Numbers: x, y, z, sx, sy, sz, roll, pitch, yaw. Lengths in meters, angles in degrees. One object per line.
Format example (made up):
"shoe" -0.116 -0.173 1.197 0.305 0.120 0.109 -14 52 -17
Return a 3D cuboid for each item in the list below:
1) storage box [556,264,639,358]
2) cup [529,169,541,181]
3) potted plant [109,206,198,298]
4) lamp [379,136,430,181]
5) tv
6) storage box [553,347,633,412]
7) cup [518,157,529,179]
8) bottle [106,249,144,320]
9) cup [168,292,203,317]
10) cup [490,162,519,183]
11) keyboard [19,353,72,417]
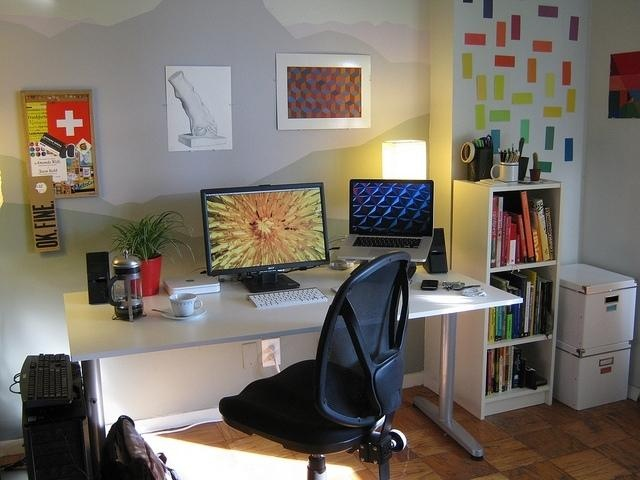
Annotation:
"storage box" 1.754 0.473 3.441 0.457 0.506 0.492 -4 10 -12
"cup" 1.366 -0.410 3.186 0.068 0.076 0.074 -1 10 0
"potted plant" -0.880 0.086 2.654 0.365 0.444 0.369 8 13 40
"lamp" 0.504 -0.483 3.022 0.231 0.289 0.234 -4 10 -29
"tv" -0.294 -0.010 2.757 0.499 0.425 0.167 -5 12 -20
"storage box" 1.746 0.864 3.332 0.482 0.439 0.338 -7 10 -25
"cup" 1.267 -0.442 3.176 0.051 0.140 0.084 -1 10 19
"bottle" -0.909 0.210 2.397 0.145 0.293 0.242 -7 10 -20
"cup" -0.616 0.295 2.363 0.113 0.078 0.100 -4 10 6
"cup" 1.133 -0.414 3.106 0.176 0.123 0.133 -2 10 12
"keyboard" -1.216 0.625 2.279 0.224 0.065 0.317 4 23 -31
